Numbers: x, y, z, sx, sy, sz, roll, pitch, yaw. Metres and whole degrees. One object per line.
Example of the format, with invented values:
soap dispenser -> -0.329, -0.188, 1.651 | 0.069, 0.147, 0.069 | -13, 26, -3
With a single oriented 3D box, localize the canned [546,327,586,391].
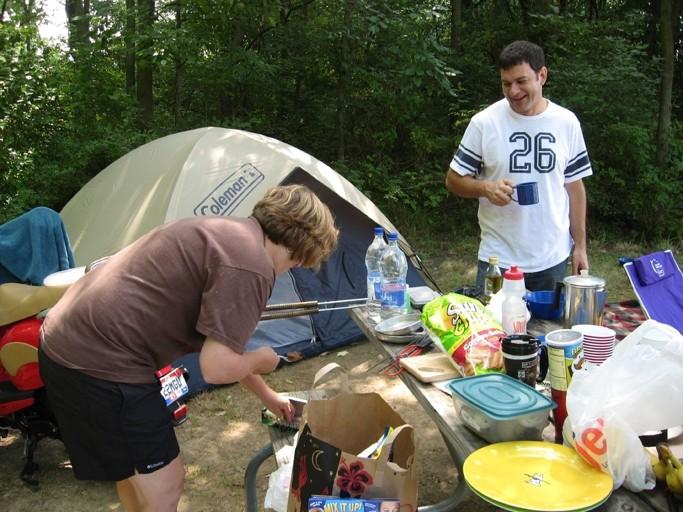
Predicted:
canned -> 0.949, 0.423, 2.531 | 0.108, 0.294, 0.138 | 5, 10, 37

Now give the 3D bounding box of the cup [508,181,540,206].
cup -> 1.103, -0.376, 3.610 | 0.136, 0.130, 0.175 | -3, 10, 8

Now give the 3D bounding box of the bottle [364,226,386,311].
bottle -> 0.213, 0.114, 3.720 | 0.173, 0.577, 0.180 | 1, 0, 0

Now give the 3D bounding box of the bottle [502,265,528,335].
bottle -> 0.823, 0.214, 2.860 | 0.103, 0.340, 0.095 | 0, 3, 0

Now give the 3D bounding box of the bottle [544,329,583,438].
bottle -> 0.934, 0.544, 2.528 | 0.153, 0.397, 0.390 | 1, 11, 25

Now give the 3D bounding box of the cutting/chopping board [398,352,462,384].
cutting/chopping board -> 0.423, 0.510, 2.977 | 0.293, 0.113, 0.221 | -3, 12, -30

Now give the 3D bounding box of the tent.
tent -> -1.210, 0.278, 5.884 | 2.678, 1.356, 2.507 | -11, 19, -38
